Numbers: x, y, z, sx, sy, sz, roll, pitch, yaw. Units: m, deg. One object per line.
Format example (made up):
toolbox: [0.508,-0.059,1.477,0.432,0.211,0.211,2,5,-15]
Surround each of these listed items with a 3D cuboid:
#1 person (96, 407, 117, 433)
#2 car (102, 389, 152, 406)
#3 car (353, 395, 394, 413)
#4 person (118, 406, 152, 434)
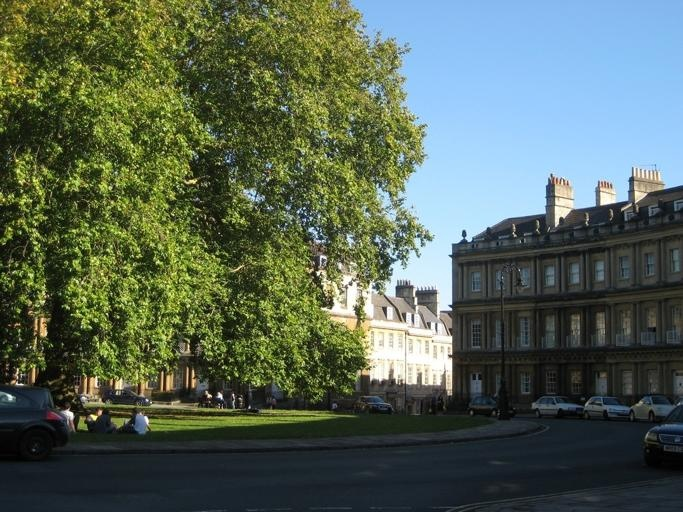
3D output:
person: [-9.080,6.289,41.947,0.766,0.690,0.529,3,-12,-12]
car: [-17.360,11.108,87.555,3.663,1.113,1.581,-1,-5,6]
car: [2.110,10.671,79.968,1.184,0.804,2.546,4,-14,-28]
person: [-7.953,6.270,42.211,0.851,0.616,1.260,5,-5,-35]
